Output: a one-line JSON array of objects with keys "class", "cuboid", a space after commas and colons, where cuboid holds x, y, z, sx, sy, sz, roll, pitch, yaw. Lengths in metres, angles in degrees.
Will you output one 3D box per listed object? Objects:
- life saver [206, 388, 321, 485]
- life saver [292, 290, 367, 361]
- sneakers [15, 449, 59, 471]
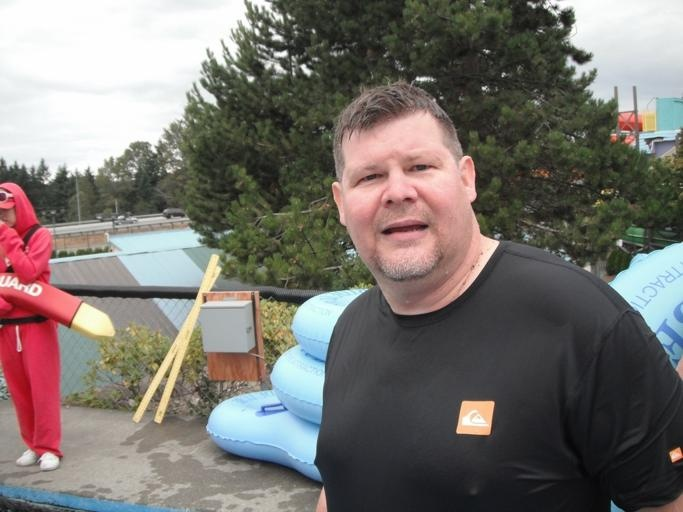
[{"class": "life saver", "cuboid": [-0.455, 1.318, 4.827, 0.944, 0.334, 0.792, 16, 13, 21]}, {"class": "life saver", "cuboid": [-0.109, 0.435, 4.333, 0.457, 0.170, 0.450, -4, 26, -22]}, {"class": "sneakers", "cuboid": [-2.248, 1.546, 4.823, 0.149, 0.104, 0.257, -1, -20, 5]}]
